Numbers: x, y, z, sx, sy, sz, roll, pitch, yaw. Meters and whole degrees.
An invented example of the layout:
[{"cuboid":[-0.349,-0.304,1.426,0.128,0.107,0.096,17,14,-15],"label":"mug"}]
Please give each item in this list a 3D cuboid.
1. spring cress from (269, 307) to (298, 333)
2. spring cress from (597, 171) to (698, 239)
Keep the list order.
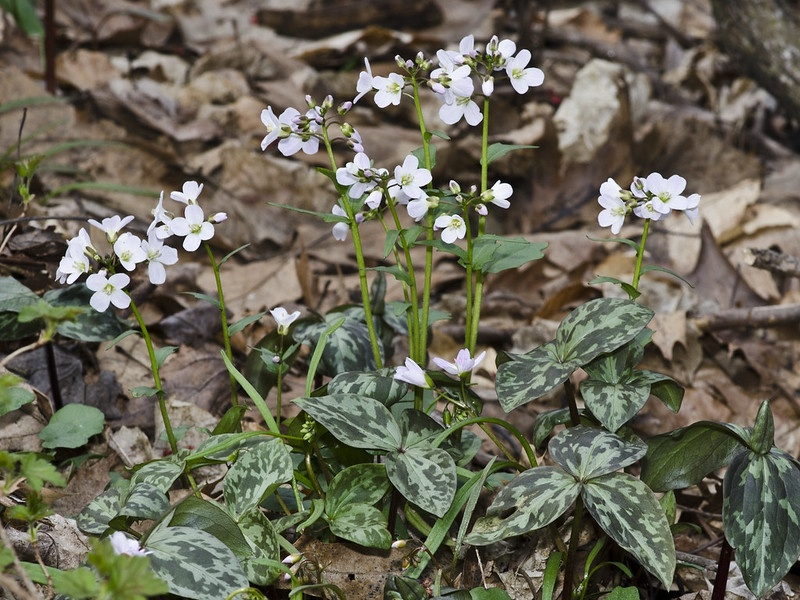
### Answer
[{"cuboid":[-0.578,0.123,4.182,0.126,0.108,0.139,6,14,11],"label":"spring cress"},{"cuboid":[1.174,-0.490,4.080,0.335,0.351,0.140,5,16,-2],"label":"spring cress"}]
